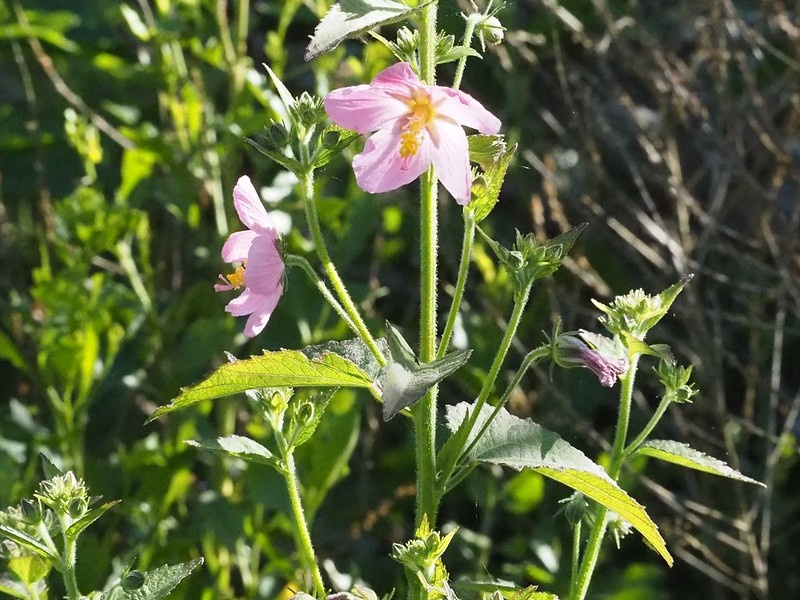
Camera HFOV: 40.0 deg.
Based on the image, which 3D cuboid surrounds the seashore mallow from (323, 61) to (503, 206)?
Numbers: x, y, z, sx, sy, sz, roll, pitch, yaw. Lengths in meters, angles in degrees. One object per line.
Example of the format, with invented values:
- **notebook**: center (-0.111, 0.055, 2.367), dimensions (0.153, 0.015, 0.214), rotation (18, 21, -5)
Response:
- **seashore mallow**: center (0.027, -0.336, 2.183), dimensions (0.276, 0.315, 0.140), rotation (-11, 18, 7)

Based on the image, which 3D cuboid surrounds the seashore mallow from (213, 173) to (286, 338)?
- **seashore mallow**: center (-0.316, -0.063, 2.318), dimensions (0.130, 0.143, 0.292), rotation (-15, -10, -11)
